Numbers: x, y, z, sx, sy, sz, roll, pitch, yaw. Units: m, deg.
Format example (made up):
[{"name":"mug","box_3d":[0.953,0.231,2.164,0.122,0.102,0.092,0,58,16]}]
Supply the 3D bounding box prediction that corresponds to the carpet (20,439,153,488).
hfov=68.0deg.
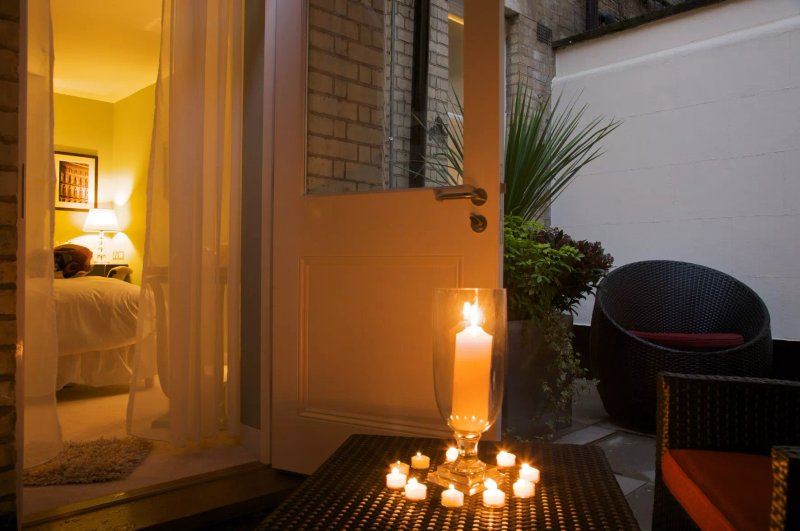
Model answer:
[{"name":"carpet","box_3d":[-1.647,1.038,3.175,0.553,0.043,0.547,-1,7,-6]}]

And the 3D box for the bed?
[{"name":"bed","box_3d":[-2.219,0.486,4.261,0.872,0.480,0.887,3,5,-31]}]

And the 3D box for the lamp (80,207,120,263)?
[{"name":"lamp","box_3d":[-3.749,-0.404,7.441,0.396,0.673,0.569,-3,7,-26]}]

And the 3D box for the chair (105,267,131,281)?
[{"name":"chair","box_3d":[-3.002,0.079,6.300,0.119,0.143,0.128,11,9,26]}]

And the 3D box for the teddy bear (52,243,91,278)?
[{"name":"teddy bear","box_3d":[-3.259,-0.046,5.868,0.234,0.298,0.321,9,9,-5]}]

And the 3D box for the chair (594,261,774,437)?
[{"name":"chair","box_3d":[1.795,0.454,4.070,1.161,1.083,1.212,-5,4,-5]}]
